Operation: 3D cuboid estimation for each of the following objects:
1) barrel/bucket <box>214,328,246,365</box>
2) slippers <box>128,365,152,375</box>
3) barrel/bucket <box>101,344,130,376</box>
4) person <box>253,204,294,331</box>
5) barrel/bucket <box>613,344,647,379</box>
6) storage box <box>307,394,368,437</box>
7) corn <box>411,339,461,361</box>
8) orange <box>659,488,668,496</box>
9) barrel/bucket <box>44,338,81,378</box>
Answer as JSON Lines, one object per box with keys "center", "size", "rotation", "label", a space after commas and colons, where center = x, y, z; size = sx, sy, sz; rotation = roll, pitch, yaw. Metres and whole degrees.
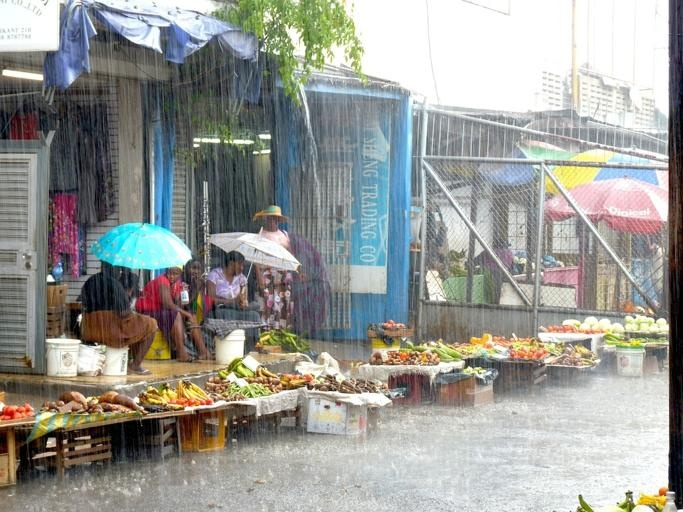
{"center": [-1.643, 1.344, 13.739], "size": [0.433, 0.540, 0.464], "rotation": [1, -9, 0], "label": "barrel/bucket"}
{"center": [-2.698, 1.521, 12.508], "size": [0.289, 0.114, 0.123], "rotation": [-1, -1, 13], "label": "slippers"}
{"center": [-3.010, 1.382, 12.423], "size": [0.321, 0.359, 0.330], "rotation": [0, -4, 0], "label": "barrel/bucket"}
{"center": [-1.123, 0.279, 16.880], "size": [0.582, 2.484, 0.563], "rotation": [-2, 3, -31], "label": "person"}
{"center": [5.059, 1.824, 16.336], "size": [0.451, 0.529, 0.492], "rotation": [1, -5, 0], "label": "barrel/bucket"}
{"center": [-0.067, 2.077, 12.339], "size": [0.805, 0.557, 0.288], "rotation": [5, 13, 4], "label": "storage box"}
{"center": [1.575, 1.477, 14.648], "size": [0.453, 0.147, 0.362], "rotation": [9, 5, 11], "label": "corn"}
{"center": [2.878, 2.089, 8.322], "size": [0.065, 0.091, 0.071], "rotation": [7, 7, 12], "label": "orange"}
{"center": [-3.663, 1.324, 12.245], "size": [0.421, 0.436, 0.453], "rotation": [1, -4, 0], "label": "barrel/bucket"}
